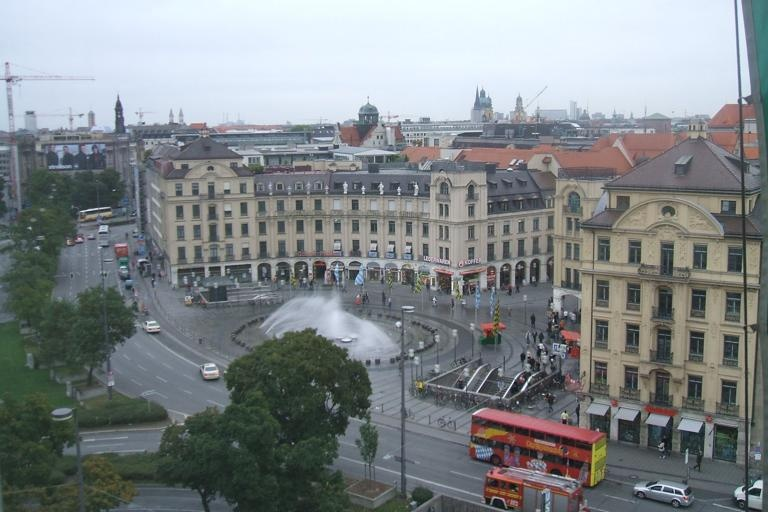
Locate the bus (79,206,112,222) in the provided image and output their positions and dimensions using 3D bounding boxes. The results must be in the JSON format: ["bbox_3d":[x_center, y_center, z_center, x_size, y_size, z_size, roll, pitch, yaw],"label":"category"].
[{"bbox_3d":[-68.696,-9.955,366.163,4.655,3.406,9.819,1,10,21],"label":"bus"}]

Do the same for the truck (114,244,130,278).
[{"bbox_3d":[-49.332,1.651,293.820,2.430,2.714,11.365,-2,19,-13],"label":"truck"}]
